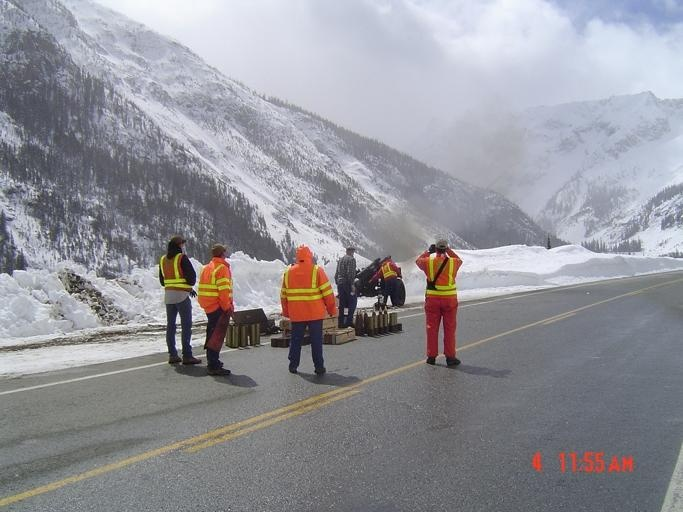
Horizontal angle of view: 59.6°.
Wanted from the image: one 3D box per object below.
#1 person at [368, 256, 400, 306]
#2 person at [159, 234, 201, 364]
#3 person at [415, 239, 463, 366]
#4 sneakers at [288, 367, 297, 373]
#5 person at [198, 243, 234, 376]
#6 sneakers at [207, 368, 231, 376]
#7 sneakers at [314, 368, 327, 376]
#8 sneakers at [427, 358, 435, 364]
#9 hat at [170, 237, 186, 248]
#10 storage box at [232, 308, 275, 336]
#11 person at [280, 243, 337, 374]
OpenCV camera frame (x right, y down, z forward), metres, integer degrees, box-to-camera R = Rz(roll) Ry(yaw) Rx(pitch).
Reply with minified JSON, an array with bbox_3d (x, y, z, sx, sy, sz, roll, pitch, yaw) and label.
[{"bbox_3d":[1.608,1.039,23.513,1.150,0.940,2.368,-6,-46,1],"label":"person"},{"bbox_3d":[-3.310,0.841,12.118,0.727,2.516,1.306,0,2,-18],"label":"person"},{"bbox_3d":[1.860,0.850,11.481,0.762,2.358,0.688,0,1,11],"label":"person"},{"bbox_3d":[-0.889,2.055,10.853,0.146,0.092,0.241,0,2,-5],"label":"sneakers"},{"bbox_3d":[-2.366,0.946,11.185,0.618,2.332,1.236,0,2,-14],"label":"person"},{"bbox_3d":[-2.215,2.061,10.715,0.358,0.212,0.158,0,0,-1],"label":"sneakers"},{"bbox_3d":[-0.392,2.044,10.702,0.210,0.107,0.320,0,2,0],"label":"sneakers"},{"bbox_3d":[1.680,1.962,11.330,0.166,0.147,0.158,0,2,4],"label":"sneakers"},{"bbox_3d":[-3.219,-0.309,11.806,0.205,0.194,0.322,12,16,17],"label":"hat"},{"bbox_3d":[-2.262,1.757,15.281,0.608,0.807,0.918,22,13,41],"label":"storage box"},{"bbox_3d":[-0.644,0.948,10.919,0.981,2.300,0.730,0,1,-1],"label":"person"}]
